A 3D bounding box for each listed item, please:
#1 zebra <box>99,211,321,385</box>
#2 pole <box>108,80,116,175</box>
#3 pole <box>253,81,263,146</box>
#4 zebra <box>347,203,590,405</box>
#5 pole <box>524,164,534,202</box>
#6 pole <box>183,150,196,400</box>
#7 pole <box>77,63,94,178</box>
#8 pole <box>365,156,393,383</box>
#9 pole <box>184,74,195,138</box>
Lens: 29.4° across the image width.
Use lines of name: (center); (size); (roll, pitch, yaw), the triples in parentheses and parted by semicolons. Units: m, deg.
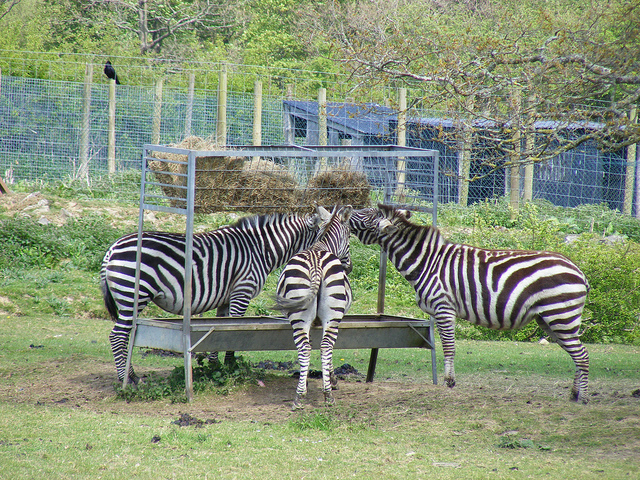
zebra: (-1.632, 0.893, 20.592); (4.135, 2.869, 1.119); (-3, 9, -17)
pole: (-4.666, -2.479, 27.355); (0.193, 1.850, 0.582); (3, 1, -9)
pole: (-1.365, -2.805, 26.840); (0.195, 1.298, 0.558); (3, 1, -4)
zebra: (2.357, 1.110, 20.127); (4.257, 2.810, 1.411); (6, -1, 11)
pole: (4.845, -1.305, 28.199); (0.190, 0.855, 0.616); (3, 1, 10)
pole: (-2.008, 0.487, 19.482); (0.135, 3.898, 0.125); (2, 5, 2)
pole: (-5.249, -2.629, 27.326); (0.228, 2.224, 0.542); (3, 1, -12)
pole: (1.013, 0.495, 21.134); (0.472, 3.376, 0.695); (-6, 19, -33)
pole: (-2.930, -3.022, 27.473); (0.129, 1.261, 0.764); (3, 1, -9)
